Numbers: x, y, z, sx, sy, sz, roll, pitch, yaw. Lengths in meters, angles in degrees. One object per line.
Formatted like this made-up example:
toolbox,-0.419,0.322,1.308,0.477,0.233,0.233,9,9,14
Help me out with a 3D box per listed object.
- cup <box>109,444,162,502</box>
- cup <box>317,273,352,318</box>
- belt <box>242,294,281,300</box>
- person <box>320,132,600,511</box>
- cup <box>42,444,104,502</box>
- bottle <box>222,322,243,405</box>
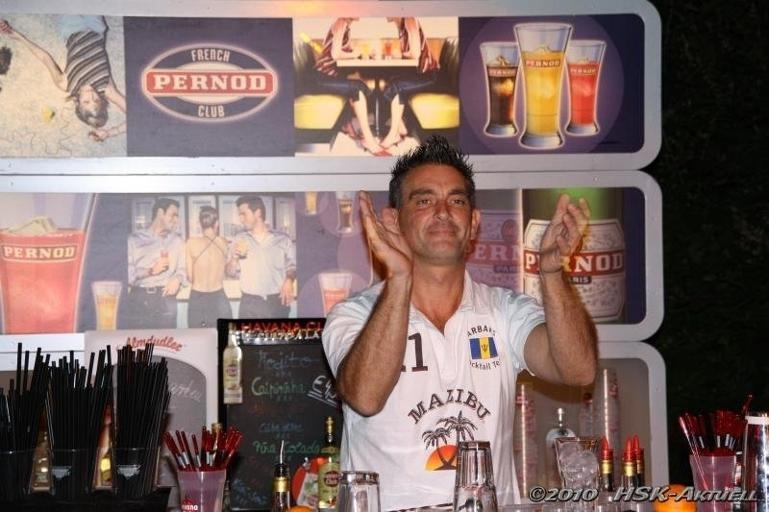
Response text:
cup,-0.860,0.717,3.381,0.173,0.201,0.182,6,4,0
cup,-0.210,0.165,4.242,0.155,0.239,0.170,1,0,0
belt,-0.536,0.171,4.238,0.161,0.024,0.009,0,17,-1
person,0.272,0.255,3.767,0.952,1.262,0.853,-6,17,-19
cup,-1.039,0.724,3.262,0.160,0.175,0.151,1,-5,0
bottle,-0.655,0.471,4.208,0.088,0.307,0.097,-3,17,-9
